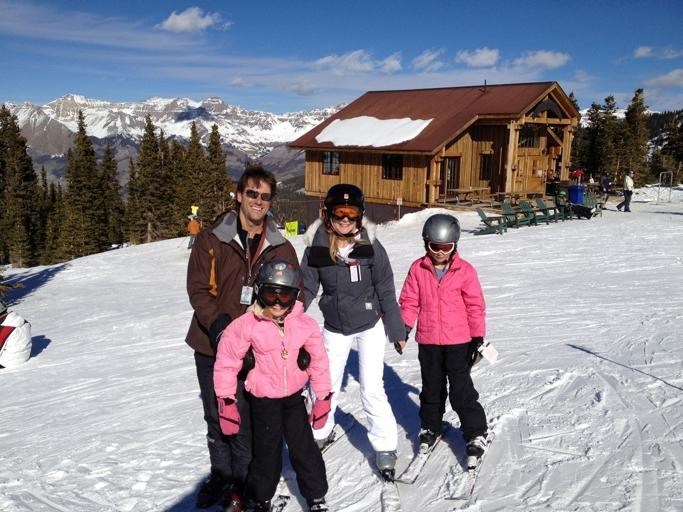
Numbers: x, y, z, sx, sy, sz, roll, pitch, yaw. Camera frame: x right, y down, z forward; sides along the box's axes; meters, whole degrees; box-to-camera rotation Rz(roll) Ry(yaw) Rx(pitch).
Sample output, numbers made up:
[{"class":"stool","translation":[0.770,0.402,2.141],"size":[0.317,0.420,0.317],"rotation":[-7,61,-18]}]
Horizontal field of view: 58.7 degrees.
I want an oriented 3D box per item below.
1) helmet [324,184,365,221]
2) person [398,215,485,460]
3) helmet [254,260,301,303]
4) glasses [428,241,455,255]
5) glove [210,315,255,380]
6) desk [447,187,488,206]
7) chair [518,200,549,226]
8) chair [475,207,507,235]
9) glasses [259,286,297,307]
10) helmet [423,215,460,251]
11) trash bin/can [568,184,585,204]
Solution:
[{"class":"helmet","translation":[0.039,-0.643,7.157],"size":[0.346,0.434,0.444],"rotation":[2,3,-6]},{"class":"person","translation":[1.247,1.034,7.459],"size":[1.037,3.116,0.910],"rotation":[0,19,12]},{"class":"helmet","translation":[-0.676,0.284,6.462],"size":[0.473,0.501,0.211],"rotation":[-3,4,-10]},{"class":"glasses","translation":[1.196,-0.112,7.261],"size":[0.325,0.146,0.175],"rotation":[-2,5,8]},{"class":"glove","translation":[-1.164,0.986,6.525],"size":[0.469,0.748,0.225],"rotation":[-2,4,-2]},{"class":"desk","translation":[5.981,-2.872,28.592],"size":[1.929,0.810,2.925],"rotation":[-1,5,12]},{"class":"chair","translation":[7.337,-1.653,23.327],"size":[1.021,0.754,0.582],"rotation":[-12,13,-39]},{"class":"chair","translation":[5.231,-1.119,21.440],"size":[1.096,1.069,1.021],"rotation":[4,14,17]},{"class":"glasses","translation":[-0.677,0.424,6.405],"size":[0.225,0.123,0.304],"rotation":[6,-31,-10]},{"class":"helmet","translation":[1.226,-0.269,7.413],"size":[0.436,0.530,0.554],"rotation":[3,-6,15]},{"class":"trash bin/can","translation":[9.716,-2.576,25.194],"size":[0.653,0.818,1.564],"rotation":[0,5,22]}]
